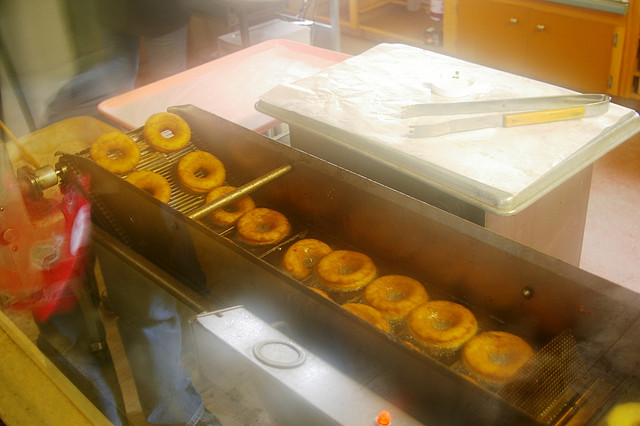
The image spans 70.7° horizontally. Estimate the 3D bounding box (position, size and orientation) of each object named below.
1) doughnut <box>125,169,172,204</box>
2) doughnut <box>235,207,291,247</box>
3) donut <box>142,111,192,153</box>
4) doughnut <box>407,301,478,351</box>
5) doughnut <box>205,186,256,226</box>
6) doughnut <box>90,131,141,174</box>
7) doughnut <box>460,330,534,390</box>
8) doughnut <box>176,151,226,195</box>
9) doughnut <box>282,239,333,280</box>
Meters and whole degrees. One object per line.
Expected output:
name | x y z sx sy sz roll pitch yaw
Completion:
doughnut | -0.693 -0.124 1.836 0.180 0.056 0.175 19 37 -13
doughnut | -0.228 0.054 1.751 0.216 0.040 0.191 1 40 4
donut | -0.683 -0.357 1.987 0.204 0.134 0.156 -20 43 -19
doughnut | 0.368 0.336 1.352 0.196 0.039 0.171 -9 40 -8
doughnut | -0.383 -0.035 1.849 0.176 0.056 0.167 -29 56 -25
doughnut | -0.851 -0.233 1.869 0.195 0.062 0.190 -32 78 -37
doughnut | 0.489 0.381 1.247 0.205 0.068 0.150 -28 46 -27
doughnut | -0.513 -0.181 1.931 0.196 0.063 0.193 27 63 9
doughnut | -0.044 0.166 1.583 0.124 0.062 0.114 19 35 34
